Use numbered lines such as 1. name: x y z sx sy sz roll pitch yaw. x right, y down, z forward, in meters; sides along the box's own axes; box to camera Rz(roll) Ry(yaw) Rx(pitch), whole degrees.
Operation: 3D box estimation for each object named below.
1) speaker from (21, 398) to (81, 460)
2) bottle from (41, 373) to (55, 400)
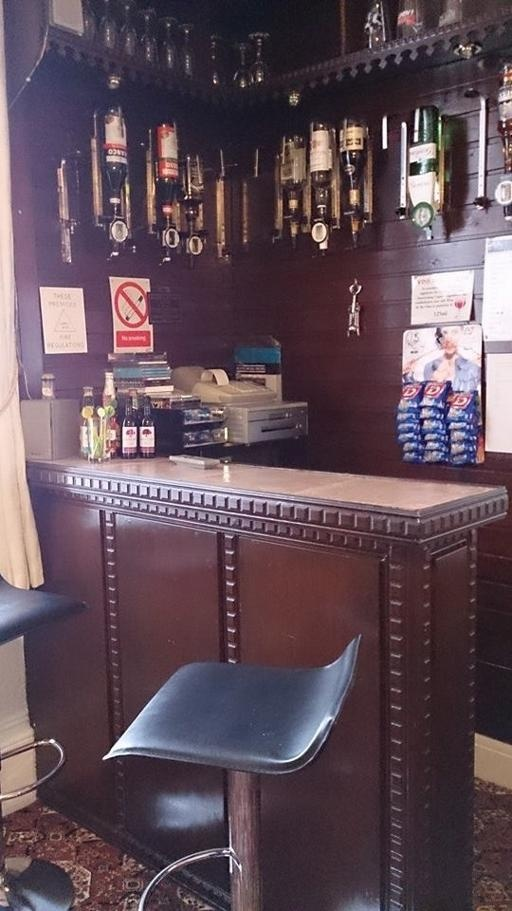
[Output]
1. speaker: -0.672 -0.087 2.321 0.166 0.208 0.179 0 6 -16
2. bottle: -0.722 -0.243 2.469 0.049 0.079 0.148 -6 12 -17
